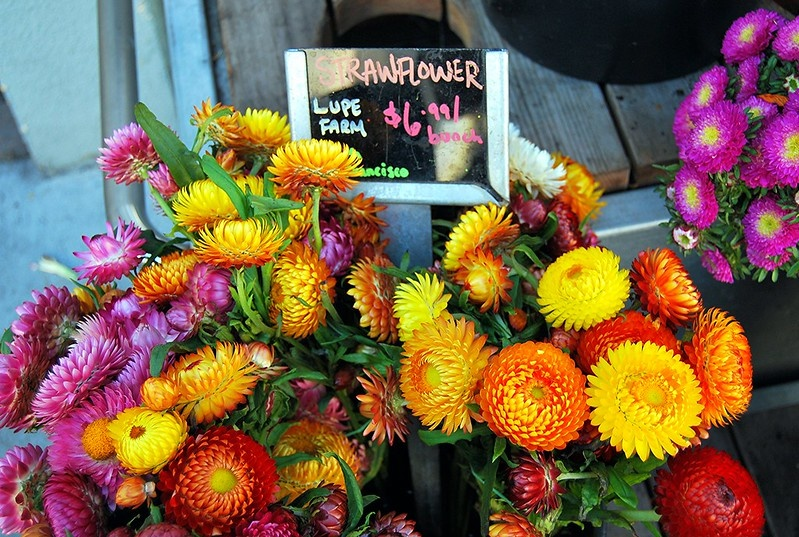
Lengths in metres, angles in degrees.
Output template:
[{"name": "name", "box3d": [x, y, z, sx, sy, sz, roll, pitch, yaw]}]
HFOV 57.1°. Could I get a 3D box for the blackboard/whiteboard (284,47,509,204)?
[{"name": "blackboard/whiteboard", "box3d": [-0.002, -0.231, 1.153, 0.238, 0.195, 0.012, 1, 13, 7]}]
